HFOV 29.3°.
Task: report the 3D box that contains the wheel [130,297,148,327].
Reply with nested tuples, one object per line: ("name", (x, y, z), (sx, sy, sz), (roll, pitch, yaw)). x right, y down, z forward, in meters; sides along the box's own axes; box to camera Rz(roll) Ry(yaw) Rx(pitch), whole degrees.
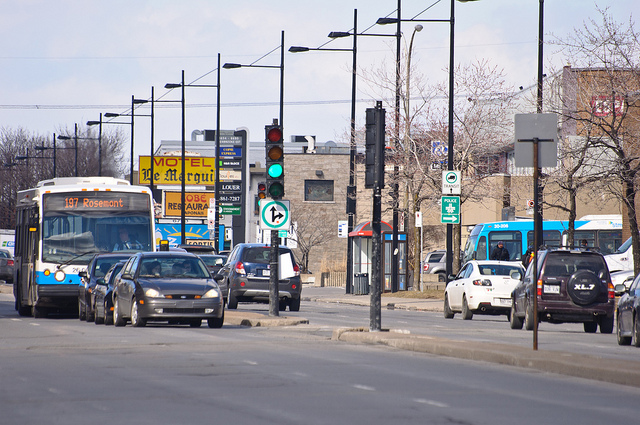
("wheel", (-4.871, 2.689, 33.003), (0.289, 0.851, 0.868), (1, -1, -25))

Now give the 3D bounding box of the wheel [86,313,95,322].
("wheel", (-6.869, 3.206, 36.610), (0.300, 0.241, 0.238), (1, 5, -11))

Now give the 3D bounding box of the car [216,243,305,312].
("car", (-2.028, 2.347, 42.008), (2.686, 2.566, 5.194), (0, 3, -5))

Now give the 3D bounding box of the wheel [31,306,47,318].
("wheel", (-8.908, 3.193, 38.787), (0.418, 0.409, 0.414), (3, -2, 0))

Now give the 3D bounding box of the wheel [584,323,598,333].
("wheel", (7.885, 3.386, 35.595), (0.363, 0.322, 0.587), (1, 4, 9))

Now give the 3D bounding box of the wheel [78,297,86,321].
("wheel", (-7.264, 2.970, 37.349), (0.272, 0.808, 0.821), (1, 0, -2))

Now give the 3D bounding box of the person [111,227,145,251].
("person", (-6.089, 0.882, 38.515), (0.602, 0.746, 0.290), (-13, 1, -10))

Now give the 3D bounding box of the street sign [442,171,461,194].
("street sign", (5.034, -1.102, 46.683), (0.940, 1.021, 0.074), (1, 7, 9))

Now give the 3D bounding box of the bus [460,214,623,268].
("bus", (10.168, 1.645, 55.692), (9.665, 2.874, 2.754), (0, 5, -23))

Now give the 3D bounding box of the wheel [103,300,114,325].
("wheel", (-6.009, 2.865, 34.796), (0.250, 0.732, 0.744), (1, 0, -12))

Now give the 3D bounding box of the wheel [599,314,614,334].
("wheel", (8.128, 3.172, 34.680), (0.242, 0.618, 0.629), (2, -2, 3))

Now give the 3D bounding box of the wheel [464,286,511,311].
("wheel", (5.218, 2.766, 38.638), (1.398, 0.817, 0.418), (2, 4, 20))

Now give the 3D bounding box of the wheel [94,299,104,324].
("wheel", (-6.407, 2.898, 35.496), (0.796, 0.182, 0.781), (0, -3, 0))

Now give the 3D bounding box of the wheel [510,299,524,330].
("wheel", (5.784, 3.028, 35.801), (0.325, 0.965, 0.981), (1, -1, -4))

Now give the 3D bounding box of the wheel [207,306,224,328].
("wheel", (-2.901, 3.025, 33.923), (0.446, 0.481, 0.684), (0, 4, -8))

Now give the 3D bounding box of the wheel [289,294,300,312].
("wheel", (-0.884, 3.242, 42.338), (0.330, 0.510, 0.420), (1, 4, -4))

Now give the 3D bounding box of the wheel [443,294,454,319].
("wheel", (4.330, 3.187, 40.919), (0.272, 0.832, 0.847), (2, -6, -4))

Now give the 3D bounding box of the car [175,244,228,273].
("car", (-4.636, 1.812, 49.605), (1.130, 0.837, 1.837), (2, -7, -21))

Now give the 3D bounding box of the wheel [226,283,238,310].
("wheel", (-3.051, 2.965, 42.738), (0.353, 0.960, 1.040), (1, 4, -4))

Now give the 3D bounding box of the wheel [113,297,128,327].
("wheel", (-5.547, 2.785, 34.094), (0.283, 0.833, 0.850), (3, -5, -19))

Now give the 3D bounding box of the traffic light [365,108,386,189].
("traffic light", (1.428, -1.613, 31.736), (0.483, 2.066, 0.800), (1, 4, 1))

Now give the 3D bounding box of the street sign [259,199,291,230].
("street sign", (-1.307, 0.079, 35.625), (0.899, 0.864, 0.087), (4, -10, -12))

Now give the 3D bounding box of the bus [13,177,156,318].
("bus", (-7.275, 1.619, 43.039), (4.112, 4.845, 10.386), (-1, -5, -3))

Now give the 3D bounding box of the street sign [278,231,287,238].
("street sign", (-1.099, 0.672, 36.143), (0.267, 0.139, 0.256), (-2, 2, -7))

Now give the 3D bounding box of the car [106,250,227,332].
("car", (-4.176, 2.238, 33.635), (3.004, 2.067, 2.055), (0, 4, -5))

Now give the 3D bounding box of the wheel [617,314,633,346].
("wheel", (7.807, 3.034, 31.235), (0.275, 0.815, 0.828), (1, 0, -4))

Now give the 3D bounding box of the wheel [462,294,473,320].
("wheel", (4.732, 3.044, 39.207), (0.269, 0.890, 0.905), (1, -1, -4))

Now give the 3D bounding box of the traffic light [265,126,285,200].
("traffic light", (-1.300, -1.397, 35.259), (0.500, 2.103, 0.487), (0, 4, -6))

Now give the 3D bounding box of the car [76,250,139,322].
("car", (-6.545, 2.135, 36.702), (1.539, 1.137, 2.381), (1, -10, -14))
